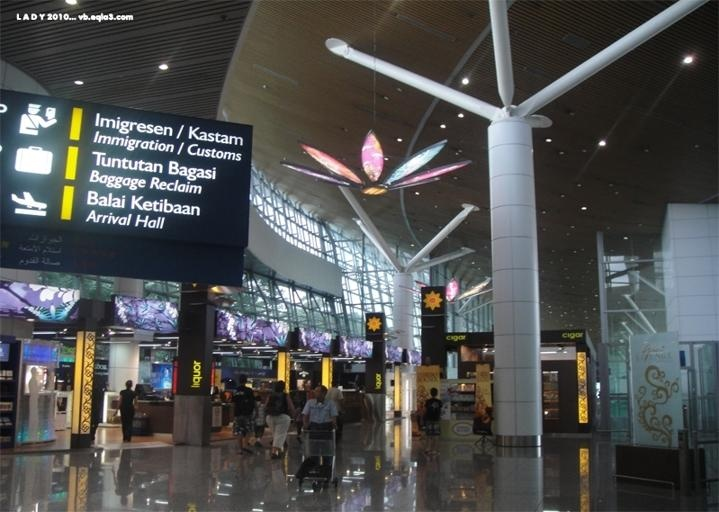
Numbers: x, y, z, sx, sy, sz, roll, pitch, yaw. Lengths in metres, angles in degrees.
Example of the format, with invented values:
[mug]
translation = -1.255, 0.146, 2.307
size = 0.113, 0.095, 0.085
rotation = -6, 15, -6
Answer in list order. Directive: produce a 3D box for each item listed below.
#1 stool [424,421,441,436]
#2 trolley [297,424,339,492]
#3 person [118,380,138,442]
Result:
[stool]
translation = 1.693, 4.027, 15.004
size = 0.431, 0.318, 0.151
rotation = 9, -17, -29
[trolley]
translation = -0.699, 3.393, 11.136
size = 0.635, 0.900, 0.939
rotation = 3, 0, 4
[person]
translation = -6.534, 4.311, 17.923
size = 0.434, 1.648, 1.129
rotation = 6, -15, -19
